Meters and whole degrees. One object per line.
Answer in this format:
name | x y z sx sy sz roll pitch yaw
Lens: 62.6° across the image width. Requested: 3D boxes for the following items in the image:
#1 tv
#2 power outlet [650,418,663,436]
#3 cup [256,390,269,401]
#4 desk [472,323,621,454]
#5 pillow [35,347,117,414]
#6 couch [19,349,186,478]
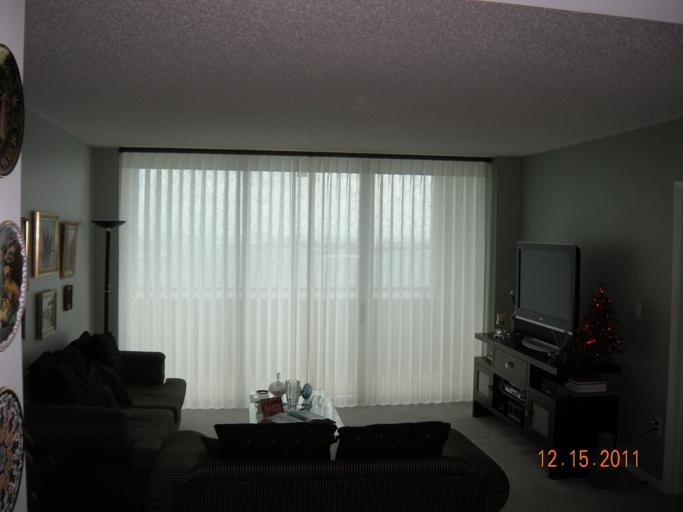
tv | 1.972 0.396 5.329 0.289 0.969 0.949 2 -3 -9
power outlet | 2.617 1.413 4.654 0.011 0.107 0.117 2 4 -19
cup | -0.741 1.313 5.294 0.110 0.117 0.111 2 4 0
desk | 1.832 1.322 5.486 0.540 0.867 1.561 2 3 -13
pillow | -2.155 0.993 4.429 0.488 0.205 0.511 22 -1 3
couch | -1.871 1.230 4.330 0.605 0.545 1.176 -1 3 -11
